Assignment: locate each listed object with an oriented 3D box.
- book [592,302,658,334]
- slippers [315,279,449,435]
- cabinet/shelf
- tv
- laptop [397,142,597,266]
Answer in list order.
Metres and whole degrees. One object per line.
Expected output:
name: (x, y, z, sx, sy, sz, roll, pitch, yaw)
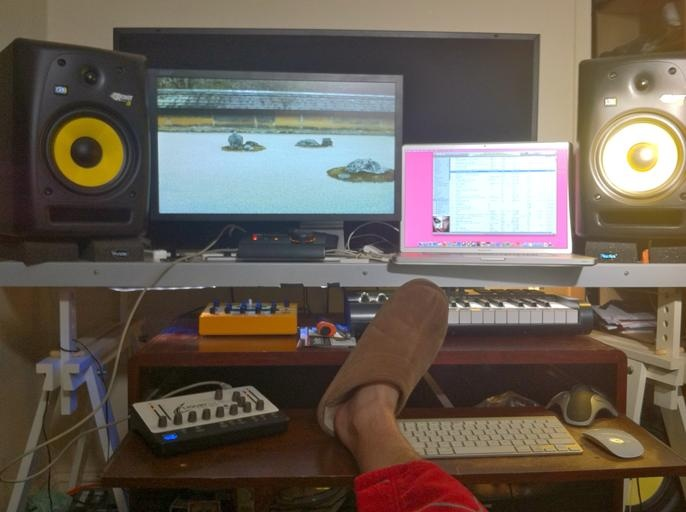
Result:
book: (0.825, 0.182, 1.741, 0.125, 0.040, 0.133, 0, 14, 2)
slippers: (0.129, 0.202, 1.473, 0.199, 0.463, 0.154, 36, -4, -1)
cabinet/shelf: (0.119, 0.410, 1.389, 1.240, 0.381, 0.366, 1, 11, -3)
tv: (-0.186, -0.266, 1.645, 0.564, 0.406, 0.152, 1, 3, -3)
laptop: (0.374, -0.144, 1.559, 0.529, 0.355, 0.309, 1, 2, 4)
